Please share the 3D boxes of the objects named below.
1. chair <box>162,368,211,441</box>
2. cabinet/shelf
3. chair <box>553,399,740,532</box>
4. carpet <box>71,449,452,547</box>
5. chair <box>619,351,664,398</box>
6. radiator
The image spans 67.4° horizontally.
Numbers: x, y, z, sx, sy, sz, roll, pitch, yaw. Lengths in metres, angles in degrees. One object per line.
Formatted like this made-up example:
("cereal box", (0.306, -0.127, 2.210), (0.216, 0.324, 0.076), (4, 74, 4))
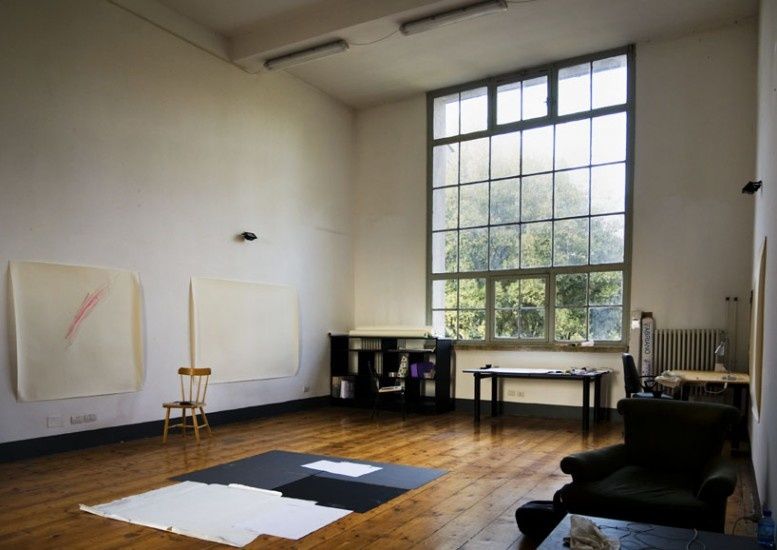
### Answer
("chair", (-2.962, 1.853, 8.544), (0.695, 1.004, 1.097), (-1, 3, -18))
("cabinet/shelf", (0.063, 1.769, 11.001), (2.307, 1.404, 0.840), (1, 3, 27))
("chair", (2.387, 1.709, 5.340), (1.150, 1.345, 1.234), (-5, -11, 41))
("carpet", (-1.272, 2.364, 6.174), (3.380, 0.080, 1.927), (0, 2, -20))
("chair", (3.622, 1.453, 8.304), (0.497, 0.644, 1.705), (2, 2, 25))
("radiator", (4.504, 1.340, 8.724), (0.896, 1.026, 0.141), (3, -1, 25))
